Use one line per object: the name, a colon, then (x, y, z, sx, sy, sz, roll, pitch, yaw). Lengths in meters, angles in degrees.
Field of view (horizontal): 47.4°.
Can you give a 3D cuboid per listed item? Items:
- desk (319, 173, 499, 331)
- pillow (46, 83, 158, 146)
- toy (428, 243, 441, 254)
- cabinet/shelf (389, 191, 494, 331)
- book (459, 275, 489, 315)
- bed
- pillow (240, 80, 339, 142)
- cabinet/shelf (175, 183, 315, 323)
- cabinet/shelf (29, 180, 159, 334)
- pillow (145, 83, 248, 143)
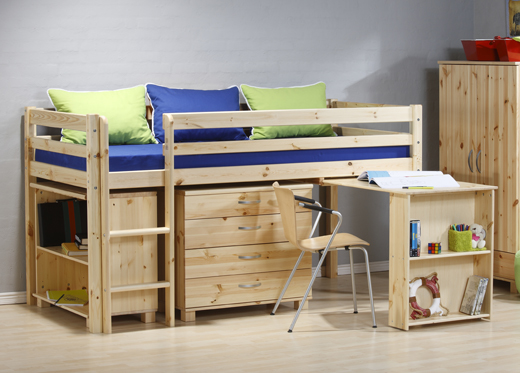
desk: (0.985, 0.444, 4.504, 0.759, 0.868, 1.251, -1, 2, -25)
pillow: (-1.172, -0.535, 4.504, 0.789, 0.464, 0.274, -9, 7, -36)
toy: (1.203, 0.422, 4.111, 0.119, 0.085, 0.064, 0, 1, -29)
cabinet/shelf: (1.245, 0.405, 4.099, 0.734, 0.887, 0.273, -17, 23, -18)
book: (1.509, 0.764, 4.188, 0.071, 0.249, 0.194, 15, -7, -19)
bed: (-0.258, 0.156, 4.790, 2.789, 1.392, 1.197, -5, 9, -31)
pillow: (0.242, -0.664, 5.073, 0.832, 0.461, 0.271, -8, 3, -24)
cabinet/shelf: (-0.133, 0.458, 4.248, 1.045, 0.869, 0.393, -2, 5, -22)
cabinet/shelf: (-1.189, 0.468, 4.398, 1.064, 0.925, 0.655, 6, 9, 41)
pillow: (-0.506, -0.554, 4.538, 0.607, 0.381, 0.204, -2, -7, -22)
